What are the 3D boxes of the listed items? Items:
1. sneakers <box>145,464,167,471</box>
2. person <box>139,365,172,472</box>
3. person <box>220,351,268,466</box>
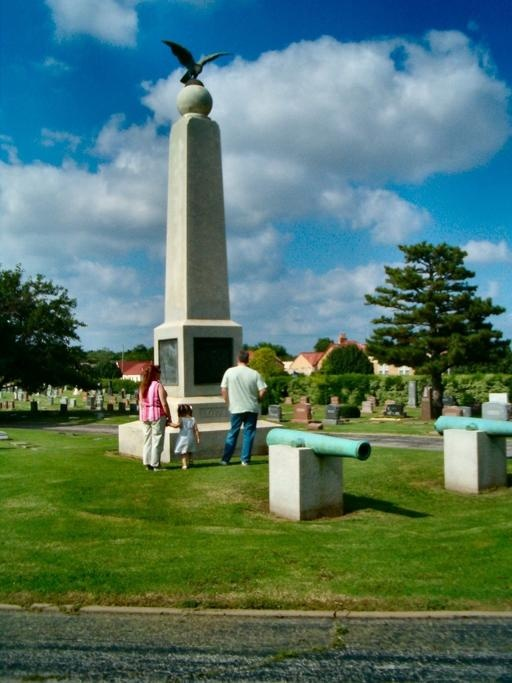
[{"bbox_3d":[-1.375,1.769,11.522,0.318,0.117,0.094,1,6,-35],"label":"sneakers"},{"bbox_3d":[-1.422,1.078,11.451,0.413,1.448,0.392,1,-4,-7],"label":"person"},{"bbox_3d":[-0.186,0.939,11.268,0.557,1.610,1.154,1,-4,-3],"label":"person"}]
